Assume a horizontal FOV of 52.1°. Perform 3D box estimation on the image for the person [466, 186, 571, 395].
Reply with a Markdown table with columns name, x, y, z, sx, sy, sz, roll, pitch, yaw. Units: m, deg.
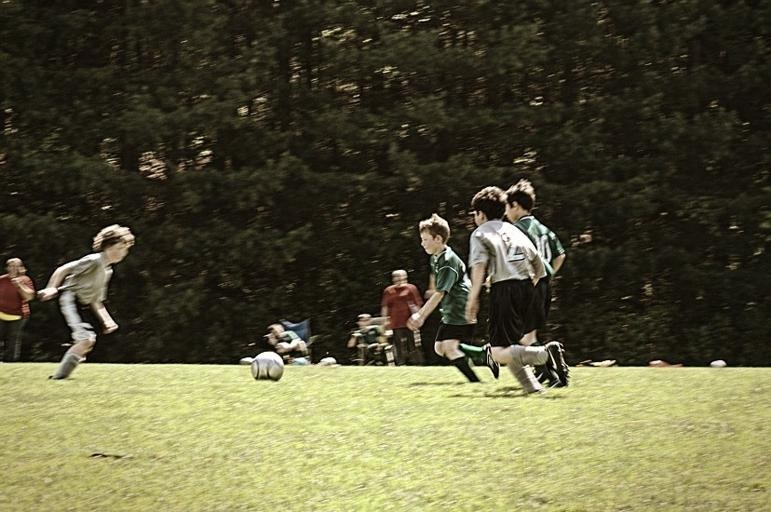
| name | x | y | z | sx | sy | sz | roll | pitch | yaw |
| --- | --- | --- | --- | --- | --- | --- | --- | --- | --- |
| person | 1.312 | 0.340 | 7.966 | 0.735 | 2.053 | 1.282 | -4 | -11 | 26 |

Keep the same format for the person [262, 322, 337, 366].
| name | x | y | z | sx | sy | sz | roll | pitch | yaw |
| --- | --- | --- | --- | --- | --- | --- | --- | --- | --- |
| person | -1.698 | 1.612 | 14.726 | 0.811 | 0.774 | 1.194 | 4 | -8 | -19 |

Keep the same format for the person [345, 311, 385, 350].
| name | x | y | z | sx | sy | sz | roll | pitch | yaw |
| --- | --- | --- | --- | --- | --- | --- | --- | --- | --- |
| person | -0.246 | 1.418 | 14.611 | 0.816 | 0.240 | 0.786 | 1 | 19 | 8 |

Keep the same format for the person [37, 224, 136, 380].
| name | x | y | z | sx | sy | sz | roll | pitch | yaw |
| --- | --- | --- | --- | --- | --- | --- | --- | --- | --- |
| person | -3.708 | 0.547 | 9.693 | 0.999 | 1.939 | 1.178 | 5 | -10 | -19 |
